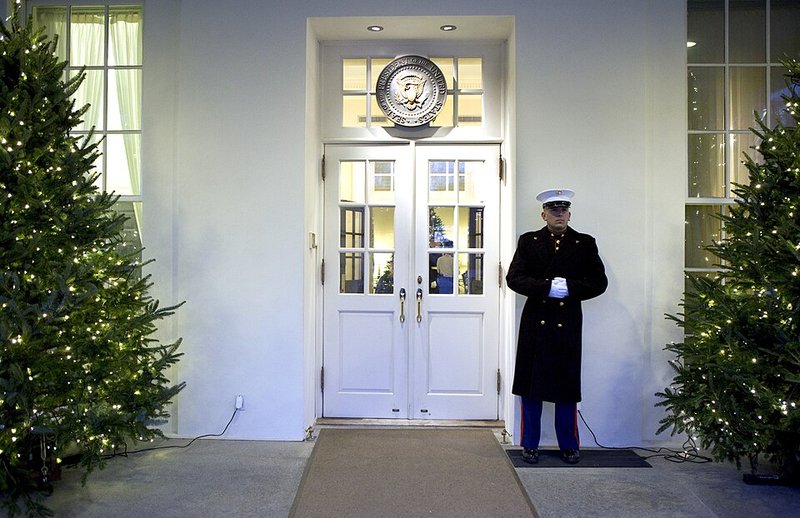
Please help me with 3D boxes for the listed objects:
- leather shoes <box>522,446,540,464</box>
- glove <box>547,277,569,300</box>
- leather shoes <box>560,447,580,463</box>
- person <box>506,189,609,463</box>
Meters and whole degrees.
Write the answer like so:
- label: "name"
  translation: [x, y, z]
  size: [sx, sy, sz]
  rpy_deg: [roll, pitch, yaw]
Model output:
- label: "leather shoes"
  translation: [1.142, 1.730, 5.953]
  size: [0.087, 0.104, 0.147]
  rpy_deg: [2, -16, -1]
- label: "glove"
  translation: [1.373, 0.256, 5.931]
  size: [0.127, 0.175, 0.072]
  rpy_deg: [2, 5, 4]
- label: "leather shoes"
  translation: [1.498, 1.722, 5.952]
  size: [0.103, 0.105, 0.138]
  rpy_deg: [2, -23, 3]
- label: "person"
  translation: [1.346, 0.579, 5.983]
  size: [0.835, 2.269, 0.754]
  rpy_deg: [3, 15, 9]
